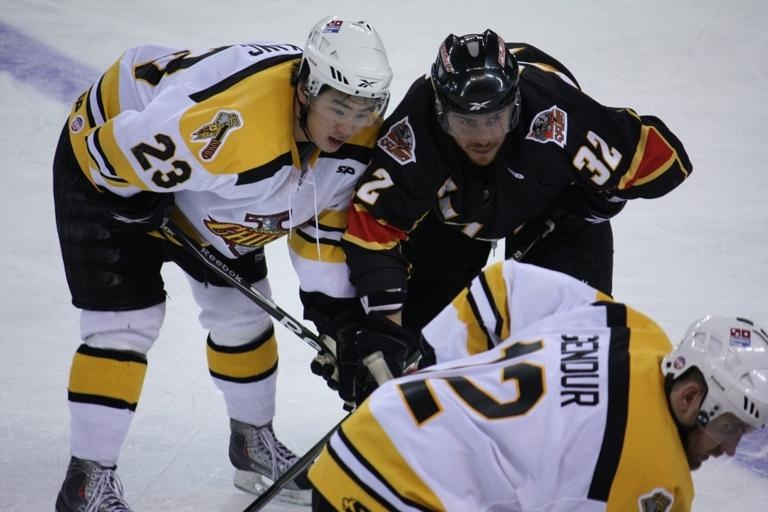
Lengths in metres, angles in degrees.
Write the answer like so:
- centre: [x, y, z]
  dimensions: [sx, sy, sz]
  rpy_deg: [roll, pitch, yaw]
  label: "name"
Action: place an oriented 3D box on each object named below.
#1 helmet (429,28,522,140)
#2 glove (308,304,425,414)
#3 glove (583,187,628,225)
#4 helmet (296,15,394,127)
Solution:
- centre: [0.424, -0.827, 3.942]
  dimensions: [0.427, 0.523, 0.521]
  rpy_deg: [1, 45, 11]
  label: "helmet"
- centre: [-0.105, 0.462, 3.926]
  dimensions: [0.506, 0.489, 0.242]
  rpy_deg: [-33, -4, 36]
  label: "glove"
- centre: [1.085, -0.233, 4.124]
  dimensions: [0.136, 0.087, 0.169]
  rpy_deg: [10, 47, 16]
  label: "glove"
- centre: [-0.177, -0.847, 3.817]
  dimensions: [0.388, 0.448, 0.470]
  rpy_deg: [2, 22, -24]
  label: "helmet"
